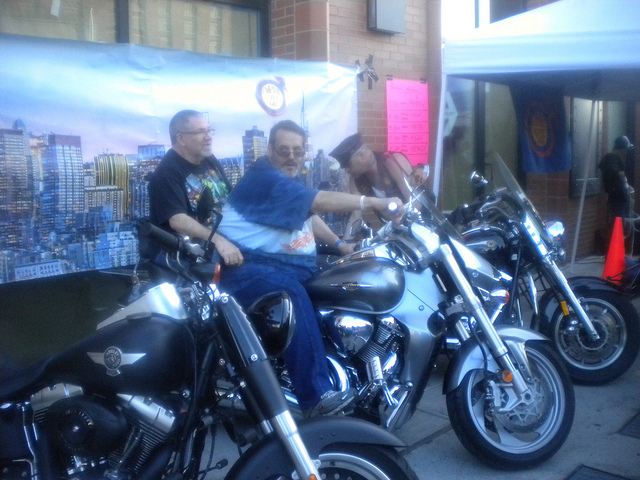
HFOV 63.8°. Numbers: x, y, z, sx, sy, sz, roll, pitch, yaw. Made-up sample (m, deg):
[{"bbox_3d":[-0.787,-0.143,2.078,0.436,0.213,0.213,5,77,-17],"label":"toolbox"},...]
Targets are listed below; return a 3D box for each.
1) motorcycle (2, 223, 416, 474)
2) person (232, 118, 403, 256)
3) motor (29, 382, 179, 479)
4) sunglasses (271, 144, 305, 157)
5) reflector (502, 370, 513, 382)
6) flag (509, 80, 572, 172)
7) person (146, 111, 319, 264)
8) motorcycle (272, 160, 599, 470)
[{"bbox_3d":[-0.660,0.531,2.866,2.276,1.464,0.929,-1,4,7],"label":"motorcycle"},{"bbox_3d":[-0.084,-0.324,3.719,1.052,1.067,1.209,1,2,-32],"label":"person"},{"bbox_3d":[-0.976,0.925,2.400,0.612,0.410,0.185,-2,10,10],"label":"motor"},{"bbox_3d":[-0.218,-0.621,3.604,0.220,0.100,0.101,-5,10,-7],"label":"sunglasses"},{"bbox_3d":[1.147,0.835,3.128,0.058,0.075,0.022,1,11,21],"label":"reflector"},{"bbox_3d":[2.901,-1.427,6.670,0.078,1.348,0.780,-38,37,-29],"label":"flag"},{"bbox_3d":[-0.846,-0.376,3.839,1.468,1.203,0.963,8,15,20],"label":"person"},{"bbox_3d":[0.323,0.514,3.648,2.781,1.844,1.339,4,10,19],"label":"motorcycle"}]
